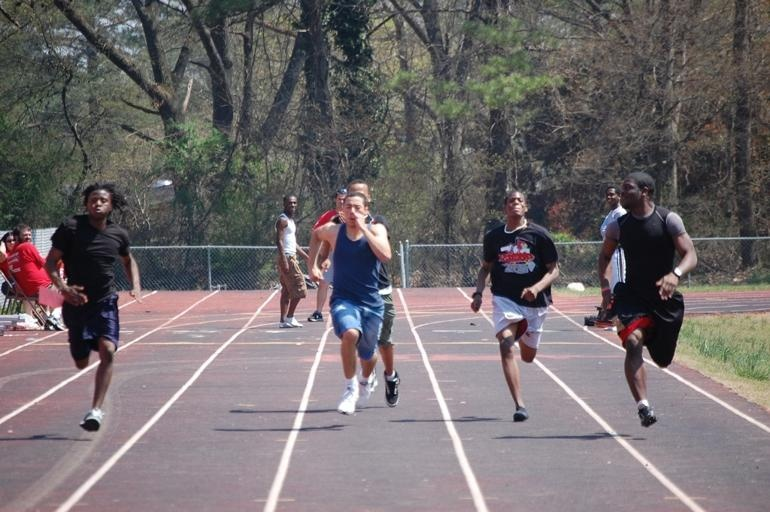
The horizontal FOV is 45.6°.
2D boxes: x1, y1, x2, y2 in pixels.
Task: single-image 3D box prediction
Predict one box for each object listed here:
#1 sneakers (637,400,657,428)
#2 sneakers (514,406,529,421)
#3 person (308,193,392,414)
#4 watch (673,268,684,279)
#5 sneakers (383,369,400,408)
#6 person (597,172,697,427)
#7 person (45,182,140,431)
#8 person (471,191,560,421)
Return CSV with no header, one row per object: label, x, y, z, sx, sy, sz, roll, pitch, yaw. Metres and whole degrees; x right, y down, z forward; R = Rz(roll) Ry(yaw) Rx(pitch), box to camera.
sneakers,3.200,1.946,11.212,0.168,0.335,0.176,-3,8,-12
sneakers,1.762,2.058,11.920,0.181,0.206,0.189,0,8,3
person,-0.425,0.655,12.081,0.984,2.984,0.783,-1,8,-4
watch,3.566,0.210,11.121,0.057,0.086,0.082,-47,-8,-35
sneakers,0.091,1.832,12.667,0.156,0.495,0.190,-2,4,5
person,3.264,0.389,11.422,1.128,2.808,0.703,1,8,13
person,-3.701,0.659,11.687,1.077,3.115,0.860,-6,9,-31
person,1.729,0.640,12.166,1.072,2.964,0.962,0,8,9
